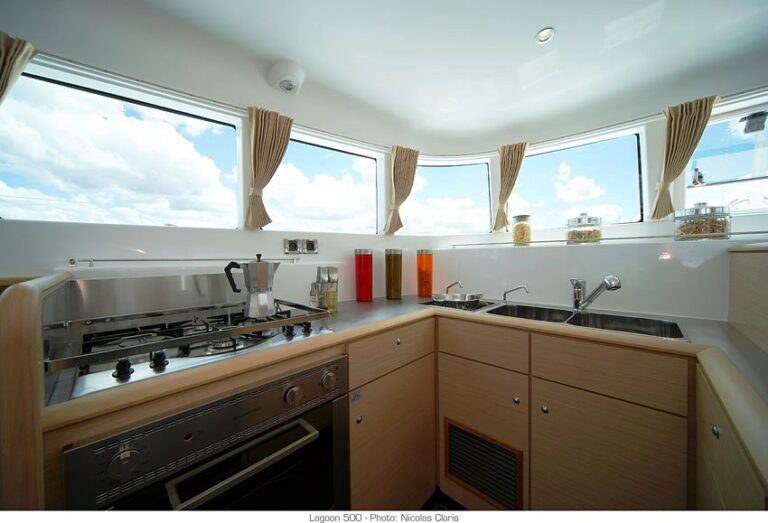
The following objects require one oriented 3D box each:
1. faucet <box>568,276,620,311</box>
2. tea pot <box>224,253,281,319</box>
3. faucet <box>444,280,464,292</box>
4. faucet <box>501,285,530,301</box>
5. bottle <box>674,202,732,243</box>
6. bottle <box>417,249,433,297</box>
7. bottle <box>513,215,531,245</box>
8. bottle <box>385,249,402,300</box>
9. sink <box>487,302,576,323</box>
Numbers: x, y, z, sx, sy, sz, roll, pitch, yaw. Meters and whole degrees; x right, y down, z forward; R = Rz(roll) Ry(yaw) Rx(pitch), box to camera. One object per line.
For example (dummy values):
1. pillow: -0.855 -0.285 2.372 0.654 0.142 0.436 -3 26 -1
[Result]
1. faucet: 1.328 0.196 2.814 0.266 0.221 0.176 1 5 27
2. tea pot: -0.696 0.135 2.474 0.392 0.444 0.224 -3 1 -14
3. faucet: 0.542 0.197 3.522 0.174 0.101 0.063 3 6 42
4. faucet: 0.940 0.227 3.168 0.256 0.101 0.071 -14 -1 30
5. bottle: 1.918 -0.232 2.685 0.221 0.237 0.306 0 1 21
6. bottle: 0.319 0.087 3.609 0.129 0.366 0.124 -2 4 0
7. bottle: 1.054 -0.246 3.422 0.126 0.230 0.205 -1 5 15
8. bottle: 0.056 0.097 3.431 0.134 0.375 0.154 -1 4 13
9. sink: 0.977 0.338 2.978 0.265 0.089 0.219 -1 1 37
